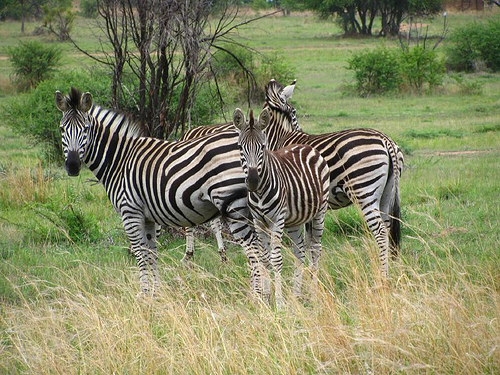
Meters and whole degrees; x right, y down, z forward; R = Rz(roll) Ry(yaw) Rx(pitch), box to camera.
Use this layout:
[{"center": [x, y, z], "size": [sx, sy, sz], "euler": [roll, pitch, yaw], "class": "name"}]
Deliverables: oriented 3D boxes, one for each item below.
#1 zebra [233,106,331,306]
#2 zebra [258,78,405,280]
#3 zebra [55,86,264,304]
[{"center": [0.403, 0.339, 9.593], "size": [0.854, 2.668, 2.854], "euler": [5, 2, 23], "class": "zebra"}, {"center": [1.137, -0.096, 11.157], "size": [1.125, 3.358, 3.648], "euler": [0, -1, -36], "class": "zebra"}, {"center": [-1.318, 0.225, 9.803], "size": [2.758, 2.922, 1.016], "euler": [2, 0, 3], "class": "zebra"}]
